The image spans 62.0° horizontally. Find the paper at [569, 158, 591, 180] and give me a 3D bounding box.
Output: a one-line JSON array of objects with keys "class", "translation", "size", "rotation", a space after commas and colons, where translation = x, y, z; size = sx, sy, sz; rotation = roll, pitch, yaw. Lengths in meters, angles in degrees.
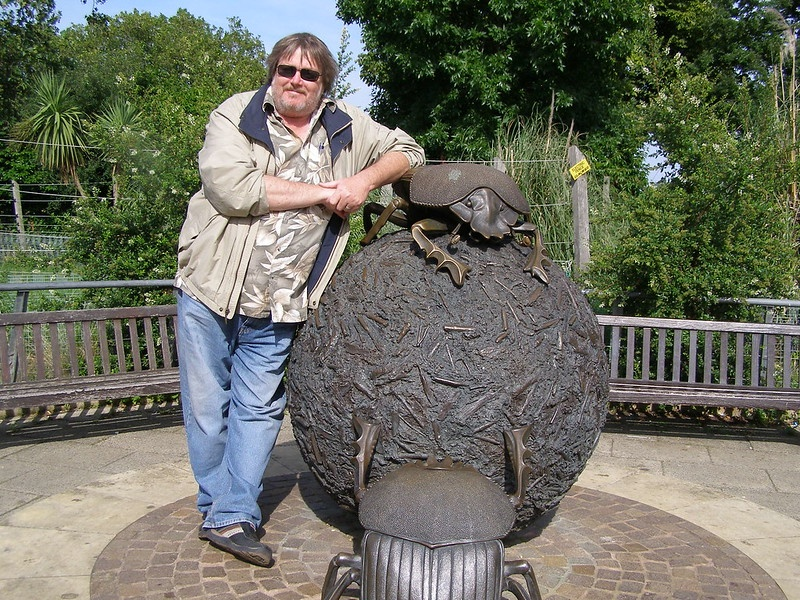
[{"class": "paper", "translation": [2.181, -1.587, 8.105], "size": [0.220, 0.253, 0.196], "rotation": [3, 7, 15]}]

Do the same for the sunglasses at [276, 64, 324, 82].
[{"class": "sunglasses", "translation": [-0.642, -1.441, 4.233], "size": [0.261, 0.101, 0.061], "rotation": [0, 7, -8]}]

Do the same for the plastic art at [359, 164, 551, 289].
[{"class": "plastic art", "translation": [0.299, -0.629, 4.256], "size": [0.822, 0.431, 0.918], "rotation": [-5, 25, -27]}]

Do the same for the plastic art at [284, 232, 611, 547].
[{"class": "plastic art", "translation": [0.344, 0.419, 4.697], "size": [1.817, 1.864, 1.814], "rotation": [4, -4, 8]}]

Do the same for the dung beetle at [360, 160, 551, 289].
[{"class": "dung beetle", "translation": [0.337, -0.630, 4.219], "size": [0.845, 0.424, 0.901], "rotation": [-4, 25, -27]}]
